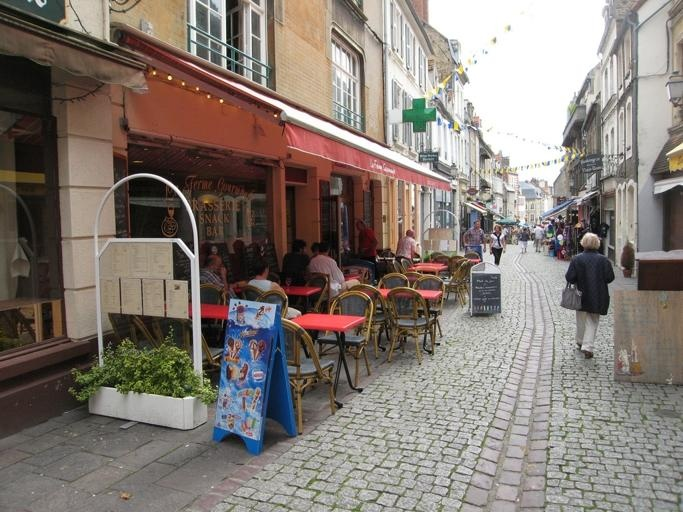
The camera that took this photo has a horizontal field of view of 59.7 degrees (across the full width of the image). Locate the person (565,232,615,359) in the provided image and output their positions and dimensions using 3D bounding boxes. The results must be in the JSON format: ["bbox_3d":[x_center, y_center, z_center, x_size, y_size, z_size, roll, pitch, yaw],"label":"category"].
[{"bbox_3d":[3.925,0.620,9.408,0.675,1.927,0.846,4,10,24],"label":"person"}]

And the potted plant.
[{"bbox_3d":[-2.265,1.501,7.227,1.536,0.964,0.735,3,-1,12],"label":"potted plant"}]
